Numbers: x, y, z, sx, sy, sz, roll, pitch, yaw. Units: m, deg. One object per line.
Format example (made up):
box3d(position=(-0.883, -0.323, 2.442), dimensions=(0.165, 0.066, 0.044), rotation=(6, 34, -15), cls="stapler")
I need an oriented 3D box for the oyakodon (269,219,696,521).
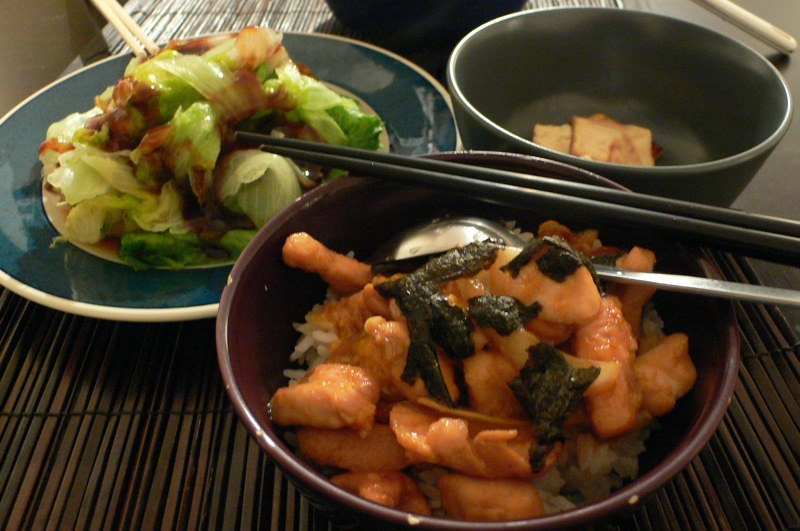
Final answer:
box3d(position=(0.209, 0.290, 1.836), dimensions=(1.096, 0.317, 0.695), rotation=(5, 66, 4), cls="oyakodon")
